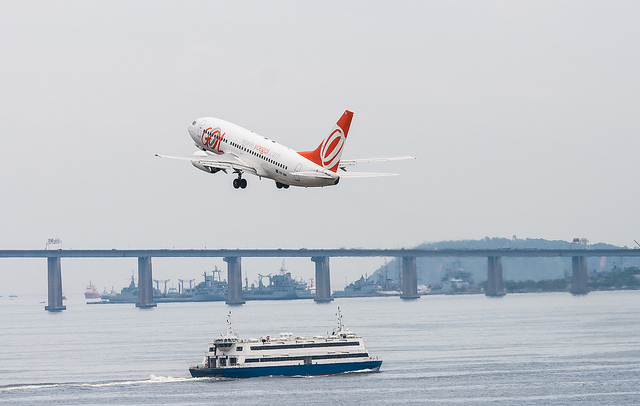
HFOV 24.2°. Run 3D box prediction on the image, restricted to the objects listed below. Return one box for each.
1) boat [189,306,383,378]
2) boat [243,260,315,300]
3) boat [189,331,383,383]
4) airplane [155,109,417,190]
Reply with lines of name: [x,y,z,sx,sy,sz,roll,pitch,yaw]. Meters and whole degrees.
boat: [-7.799,32.916,325.289,35.475,10.725,4.560,-1,-9,-4]
boat: [-14.219,30.146,532.296,28.999,10.649,19.252,-6,-10,29]
boat: [-7.159,34.368,331.199,41.008,9.501,16.826,1,-6,-32]
airplane: [-7.624,-7.856,274.750,55.920,16.548,19.826,-1,-1,21]
